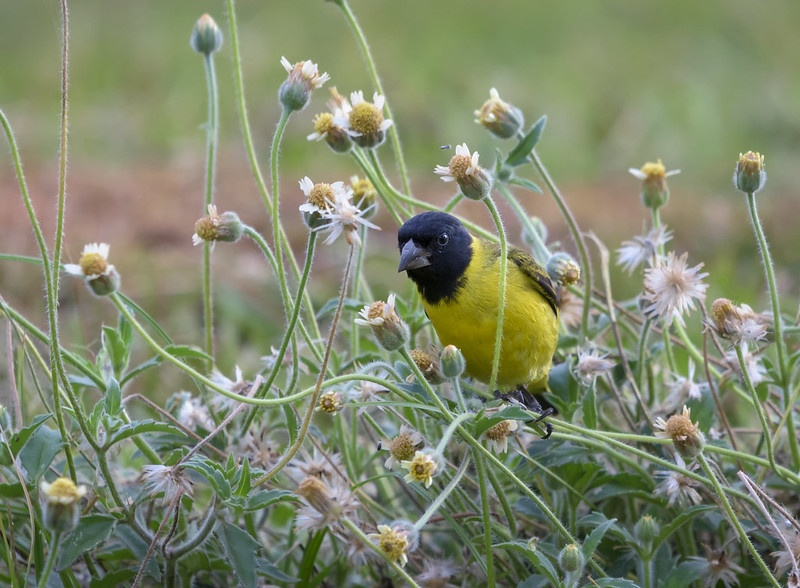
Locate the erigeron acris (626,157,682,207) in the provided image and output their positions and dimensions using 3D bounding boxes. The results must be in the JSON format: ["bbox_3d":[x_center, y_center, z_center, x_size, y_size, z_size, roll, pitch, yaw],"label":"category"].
[{"bbox_3d":[1.047,-0.438,3.765,0.166,0.229,0.202,-3,8,20],"label":"erigeron acris"}]

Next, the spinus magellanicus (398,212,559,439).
[{"bbox_3d":[0.276,0.017,4.245,0.597,1.073,0.973,2,10,14],"label":"spinus magellanicus"}]

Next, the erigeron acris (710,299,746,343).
[{"bbox_3d":[1.196,0.103,3.336,0.092,0.152,0.085,-27,0,32],"label":"erigeron acris"}]
